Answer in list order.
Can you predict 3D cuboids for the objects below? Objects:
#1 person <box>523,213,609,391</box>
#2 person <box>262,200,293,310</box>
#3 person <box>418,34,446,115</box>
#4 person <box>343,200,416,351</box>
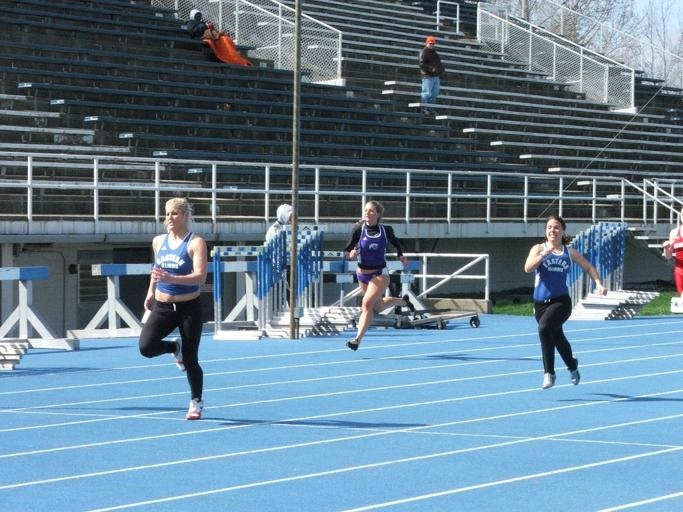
[{"bbox_3d":[2.403,0.456,11.324,0.726,1.988,0.821,0,0,-2],"label":"person"},{"bbox_3d":[-1.027,0.038,15.149,0.449,1.721,0.379,19,13,41],"label":"person"},{"bbox_3d":[2.170,-4.466,24.833,0.692,1.770,0.505,-10,15,-32],"label":"person"},{"bbox_3d":[0.366,0.224,12.832,0.834,1.849,0.382,-6,10,-42],"label":"person"}]
